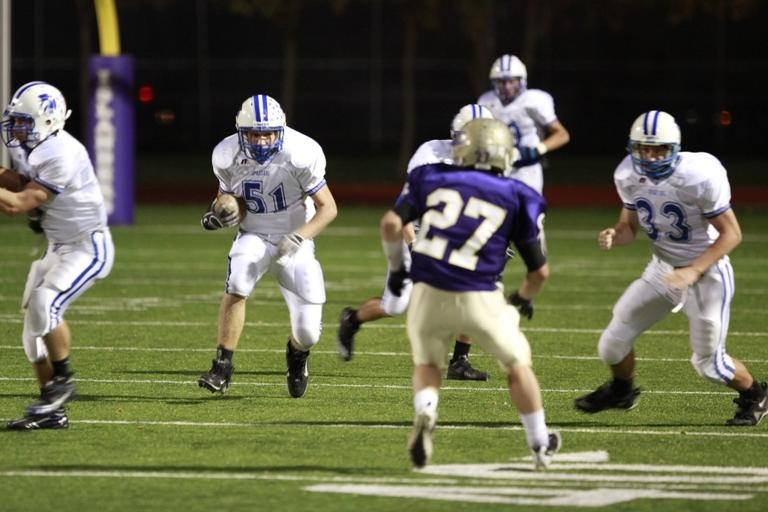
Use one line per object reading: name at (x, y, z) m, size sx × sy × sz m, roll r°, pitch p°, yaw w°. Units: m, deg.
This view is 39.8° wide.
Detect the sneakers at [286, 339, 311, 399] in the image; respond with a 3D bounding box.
sneakers at (-0.640, 0.815, 7.748) m, size 0.160 × 0.398 × 0.189 m, roll 3°, pitch 11°, yaw -5°

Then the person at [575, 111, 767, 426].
person at (1.987, 0.113, 7.125) m, size 1.197 × 2.094 × 0.686 m, roll 6°, pitch 12°, yaw 13°

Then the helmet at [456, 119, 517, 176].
helmet at (0.567, -0.659, 6.386) m, size 0.452 × 0.324 × 0.313 m, roll 4°, pitch -5°, yaw 6°

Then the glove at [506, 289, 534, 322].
glove at (0.891, 0.325, 6.669) m, size 0.249 × 0.079 × 0.183 m, roll 41°, pitch 10°, yaw -16°

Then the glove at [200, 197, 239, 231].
glove at (-1.173, -0.303, 7.735) m, size 0.273 × 0.199 × 0.196 m, roll -41°, pitch 6°, yaw -9°

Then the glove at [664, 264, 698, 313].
glove at (1.920, 0.217, 6.946) m, size 0.184 × 0.321 × 0.206 m, roll -15°, pitch 28°, yaw -25°

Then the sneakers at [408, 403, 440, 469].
sneakers at (0.215, 1.012, 6.039) m, size 0.141 × 0.353 × 0.157 m, roll 10°, pitch -5°, yaw -3°

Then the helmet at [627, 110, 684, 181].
helmet at (1.848, -0.774, 7.203) m, size 0.370 × 0.423 × 0.446 m, roll -2°, pitch 19°, yaw 8°

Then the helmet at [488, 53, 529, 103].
helmet at (1.134, -1.591, 9.602) m, size 0.308 × 0.417 × 0.342 m, roll 5°, pitch 11°, yaw 6°

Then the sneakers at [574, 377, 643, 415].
sneakers at (1.579, 0.986, 7.395) m, size 0.555 × 0.238 × 0.189 m, roll -5°, pitch 50°, yaw -7°

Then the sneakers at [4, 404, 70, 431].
sneakers at (-2.338, 1.075, 7.086) m, size 0.453 × 0.203 × 0.142 m, roll 3°, pitch 0°, yaw -11°

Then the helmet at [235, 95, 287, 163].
helmet at (-0.866, -0.914, 7.583) m, size 0.384 × 0.419 × 0.464 m, roll -1°, pitch 26°, yaw -4°

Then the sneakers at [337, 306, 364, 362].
sneakers at (-0.255, 0.571, 8.057) m, size 0.206 × 0.424 × 0.150 m, roll 3°, pitch 8°, yaw 7°

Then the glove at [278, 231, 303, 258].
glove at (-0.671, -0.075, 7.549) m, size 0.134 × 0.158 × 0.165 m, roll 40°, pitch -30°, yaw -28°

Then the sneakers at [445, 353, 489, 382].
sneakers at (0.625, 0.871, 8.205) m, size 0.393 × 0.210 × 0.139 m, roll -1°, pitch 2°, yaw 7°

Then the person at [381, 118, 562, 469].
person at (0.506, 0.241, 6.221) m, size 1.085 × 2.040 × 0.748 m, roll 3°, pitch 11°, yaw -2°

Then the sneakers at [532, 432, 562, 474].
sneakers at (0.957, 1.137, 6.265) m, size 0.110 × 0.134 × 0.322 m, roll -16°, pitch 20°, yaw 28°
